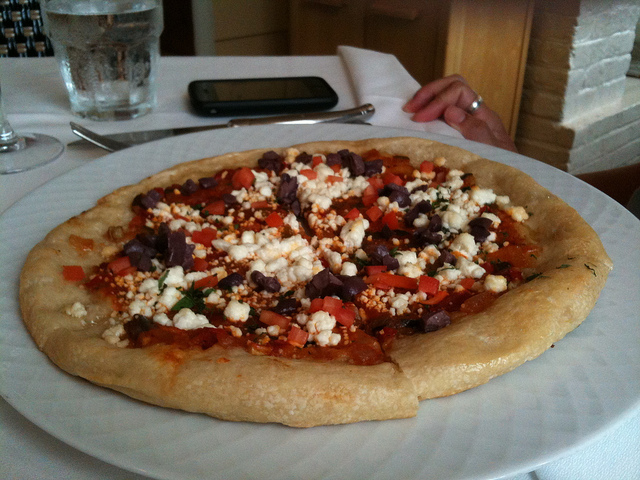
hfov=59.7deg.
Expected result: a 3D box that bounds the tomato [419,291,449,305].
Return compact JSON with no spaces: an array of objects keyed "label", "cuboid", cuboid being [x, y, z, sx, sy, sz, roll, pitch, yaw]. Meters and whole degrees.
[{"label":"tomato","cuboid":[0.407,0.205,1.970,0.078,0.016,0.042,-23,28,-5]}]

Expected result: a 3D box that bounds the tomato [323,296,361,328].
[{"label":"tomato","cuboid":[0.069,0.230,1.861,0.109,0.029,0.108,28,28,22]}]

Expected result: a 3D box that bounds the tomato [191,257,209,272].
[{"label":"tomato","cuboid":[-0.453,0.090,2.093,0.056,0.022,0.049,6,33,-2]}]

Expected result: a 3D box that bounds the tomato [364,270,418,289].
[{"label":"tomato","cuboid":[0.268,0.146,2.018,0.125,0.047,0.069,3,56,-13]}]

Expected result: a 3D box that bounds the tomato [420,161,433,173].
[{"label":"tomato","cuboid":[0.491,-0.341,2.592,0.060,0.050,0.054,-2,0,7]}]

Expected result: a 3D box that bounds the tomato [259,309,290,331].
[{"label":"tomato","cuboid":[-0.154,0.262,1.860,0.104,0.024,0.055,17,40,15]}]

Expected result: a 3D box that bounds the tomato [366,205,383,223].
[{"label":"tomato","cuboid":[0.232,-0.114,2.430,0.064,0.063,0.060,42,70,14]}]

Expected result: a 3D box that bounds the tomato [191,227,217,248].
[{"label":"tomato","cuboid":[-0.459,-0.020,2.224,0.081,0.028,0.082,31,53,29]}]

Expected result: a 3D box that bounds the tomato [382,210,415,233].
[{"label":"tomato","cuboid":[0.322,-0.073,2.347,0.112,0.040,0.106,16,26,-6]}]

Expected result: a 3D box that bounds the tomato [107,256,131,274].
[{"label":"tomato","cuboid":[-0.732,0.090,2.049,0.051,0.026,0.078,36,49,20]}]

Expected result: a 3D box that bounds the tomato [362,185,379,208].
[{"label":"tomato","cuboid":[0.219,-0.196,2.483,0.086,0.033,0.108,16,45,4]}]

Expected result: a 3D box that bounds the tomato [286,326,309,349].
[{"label":"tomato","cuboid":[-0.072,0.311,1.786,0.059,0.052,0.051,9,34,12]}]
